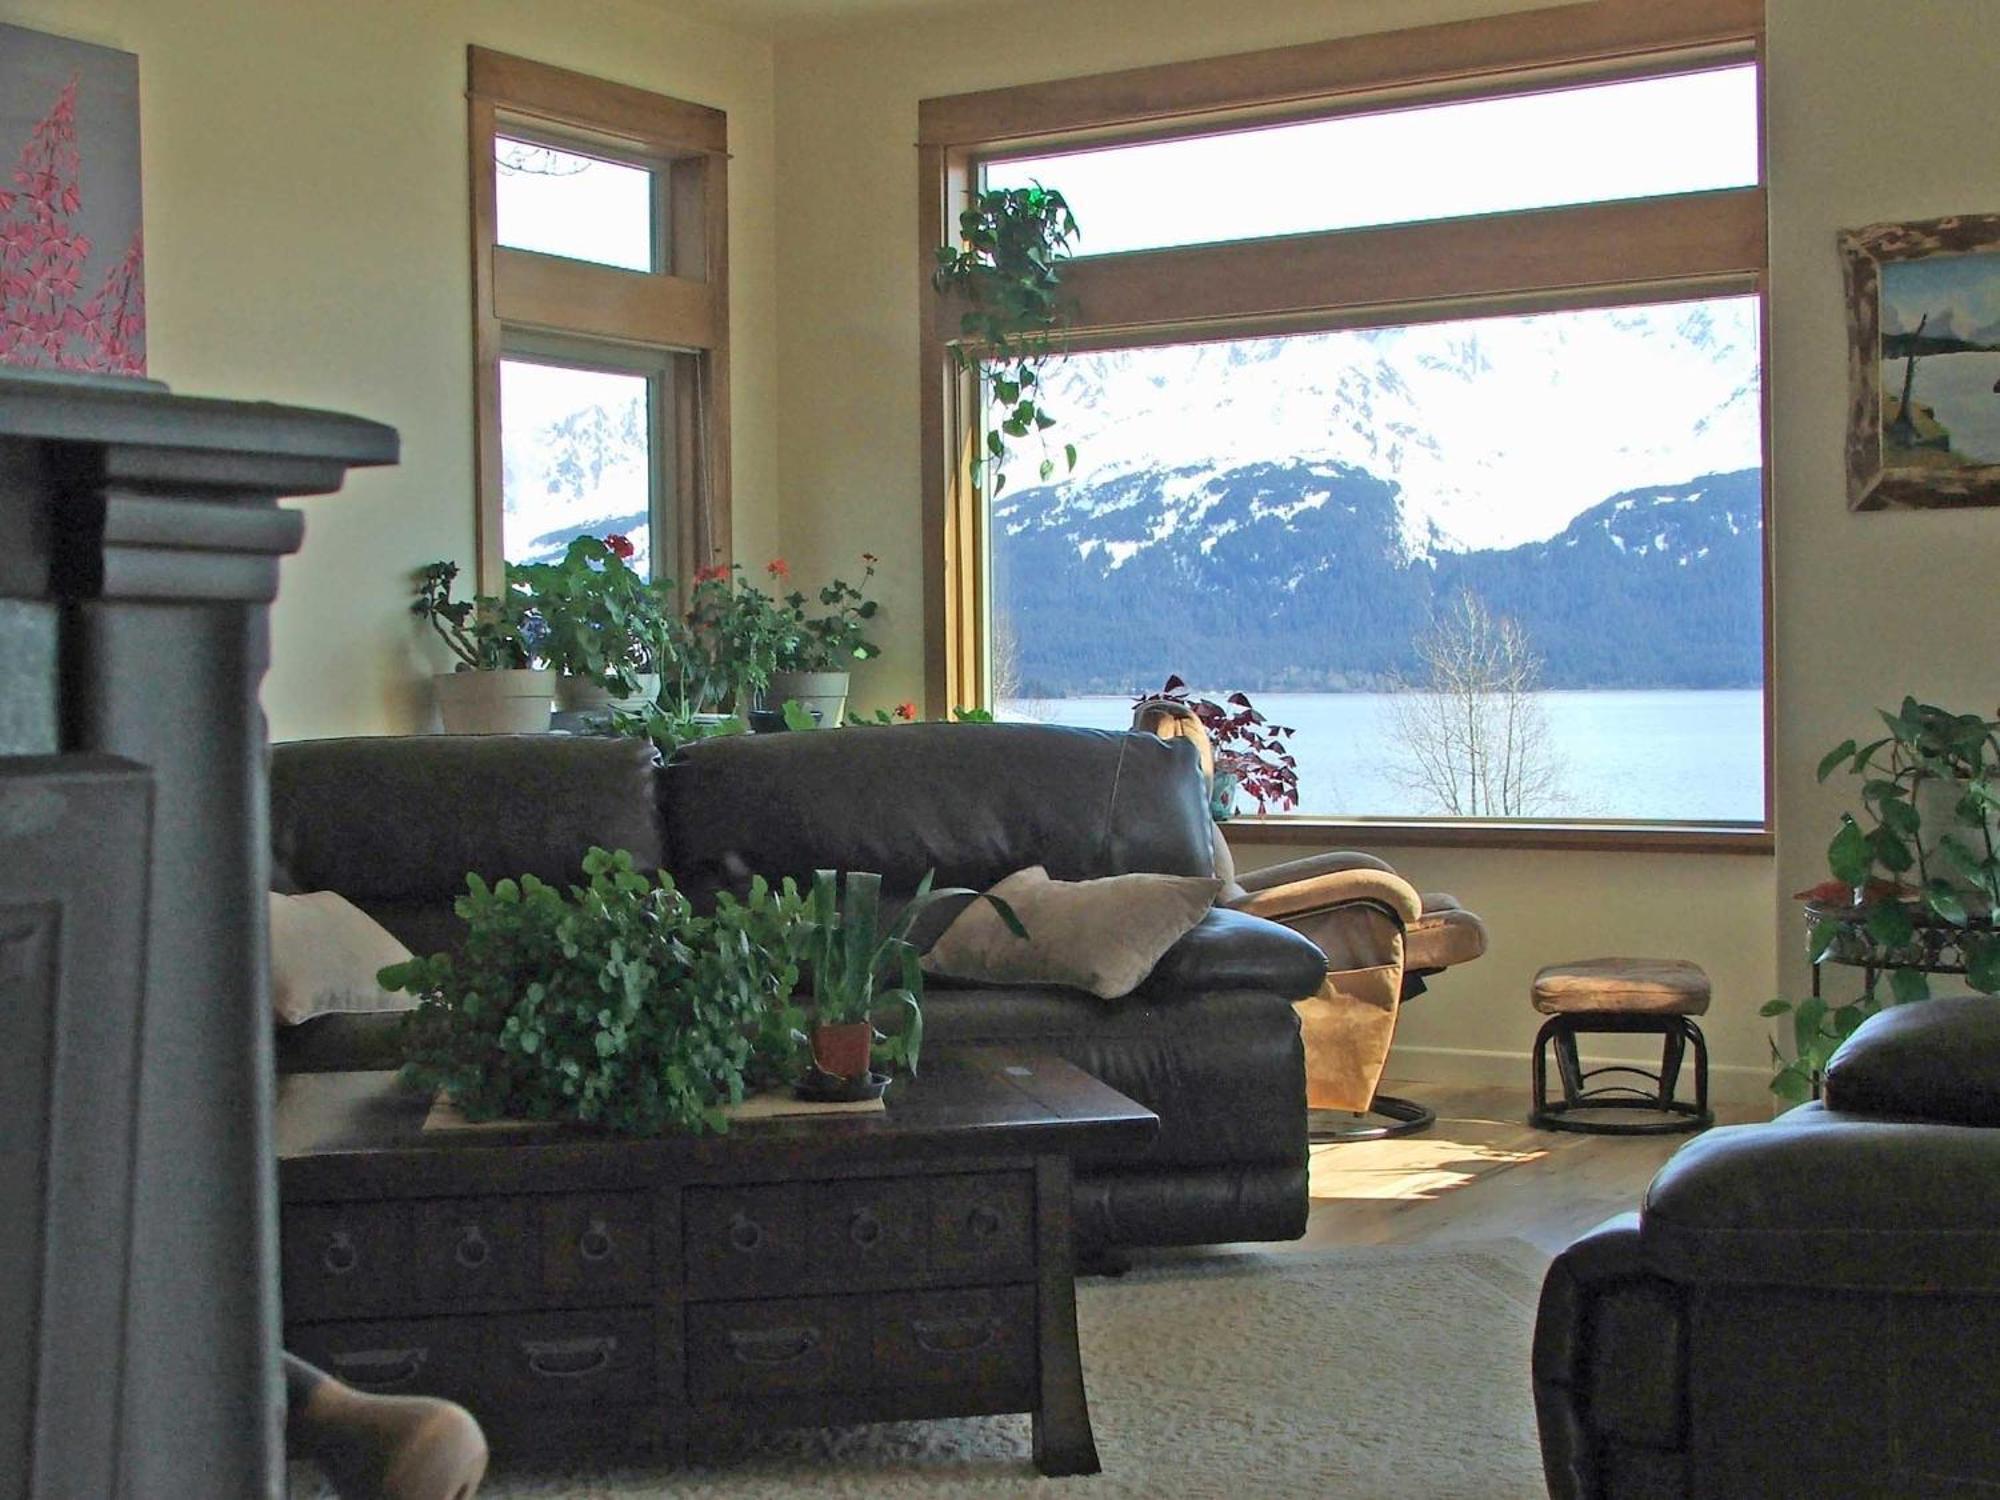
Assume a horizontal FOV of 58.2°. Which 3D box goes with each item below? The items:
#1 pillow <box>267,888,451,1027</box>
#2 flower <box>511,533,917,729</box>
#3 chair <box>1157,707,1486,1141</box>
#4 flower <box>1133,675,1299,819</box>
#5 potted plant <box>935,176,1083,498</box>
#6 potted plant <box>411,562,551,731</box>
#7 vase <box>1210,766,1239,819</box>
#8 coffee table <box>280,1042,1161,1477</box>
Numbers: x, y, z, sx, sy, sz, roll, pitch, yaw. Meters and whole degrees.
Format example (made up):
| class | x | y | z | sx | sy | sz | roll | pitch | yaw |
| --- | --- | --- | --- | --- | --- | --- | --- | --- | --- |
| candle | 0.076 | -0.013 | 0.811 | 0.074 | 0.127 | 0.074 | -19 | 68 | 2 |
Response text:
| class | x | y | z | sx | sy | sz | roll | pitch | yaw |
| --- | --- | --- | --- | --- | --- | --- | --- | --- | --- |
| pillow | -1.253 | 0.393 | 3.461 | 0.255 | 0.221 | 0.515 | -2 | 2 | -20 |
| flower | -0.956 | -0.380 | 5.865 | 0.546 | 0.592 | 1.418 | 1 | 3 | 34 |
| chair | 1.062 | 0.522 | 4.973 | 1.170 | 1.244 | 0.997 | -1 | -2 | 1 |
| flower | 0.734 | -0.010 | 5.611 | 0.454 | 0.509 | 0.211 | 12 | 17 | 35 |
| potted plant | 0.041 | -1.384 | 6.112 | 0.493 | 0.969 | 0.379 | -1 | 3 | 6 |
| potted plant | -1.481 | -0.323 | 5.339 | 0.381 | 0.510 | 0.554 | -3 | 3 | -38 |
| vase | 0.676 | 0.128 | 5.448 | 0.114 | 0.130 | 0.144 | 0 | -2 | 2 |
| coffee table | -0.415 | 0.804 | 2.685 | 1.223 | 0.574 | 0.491 | -2 | 3 | -16 |
